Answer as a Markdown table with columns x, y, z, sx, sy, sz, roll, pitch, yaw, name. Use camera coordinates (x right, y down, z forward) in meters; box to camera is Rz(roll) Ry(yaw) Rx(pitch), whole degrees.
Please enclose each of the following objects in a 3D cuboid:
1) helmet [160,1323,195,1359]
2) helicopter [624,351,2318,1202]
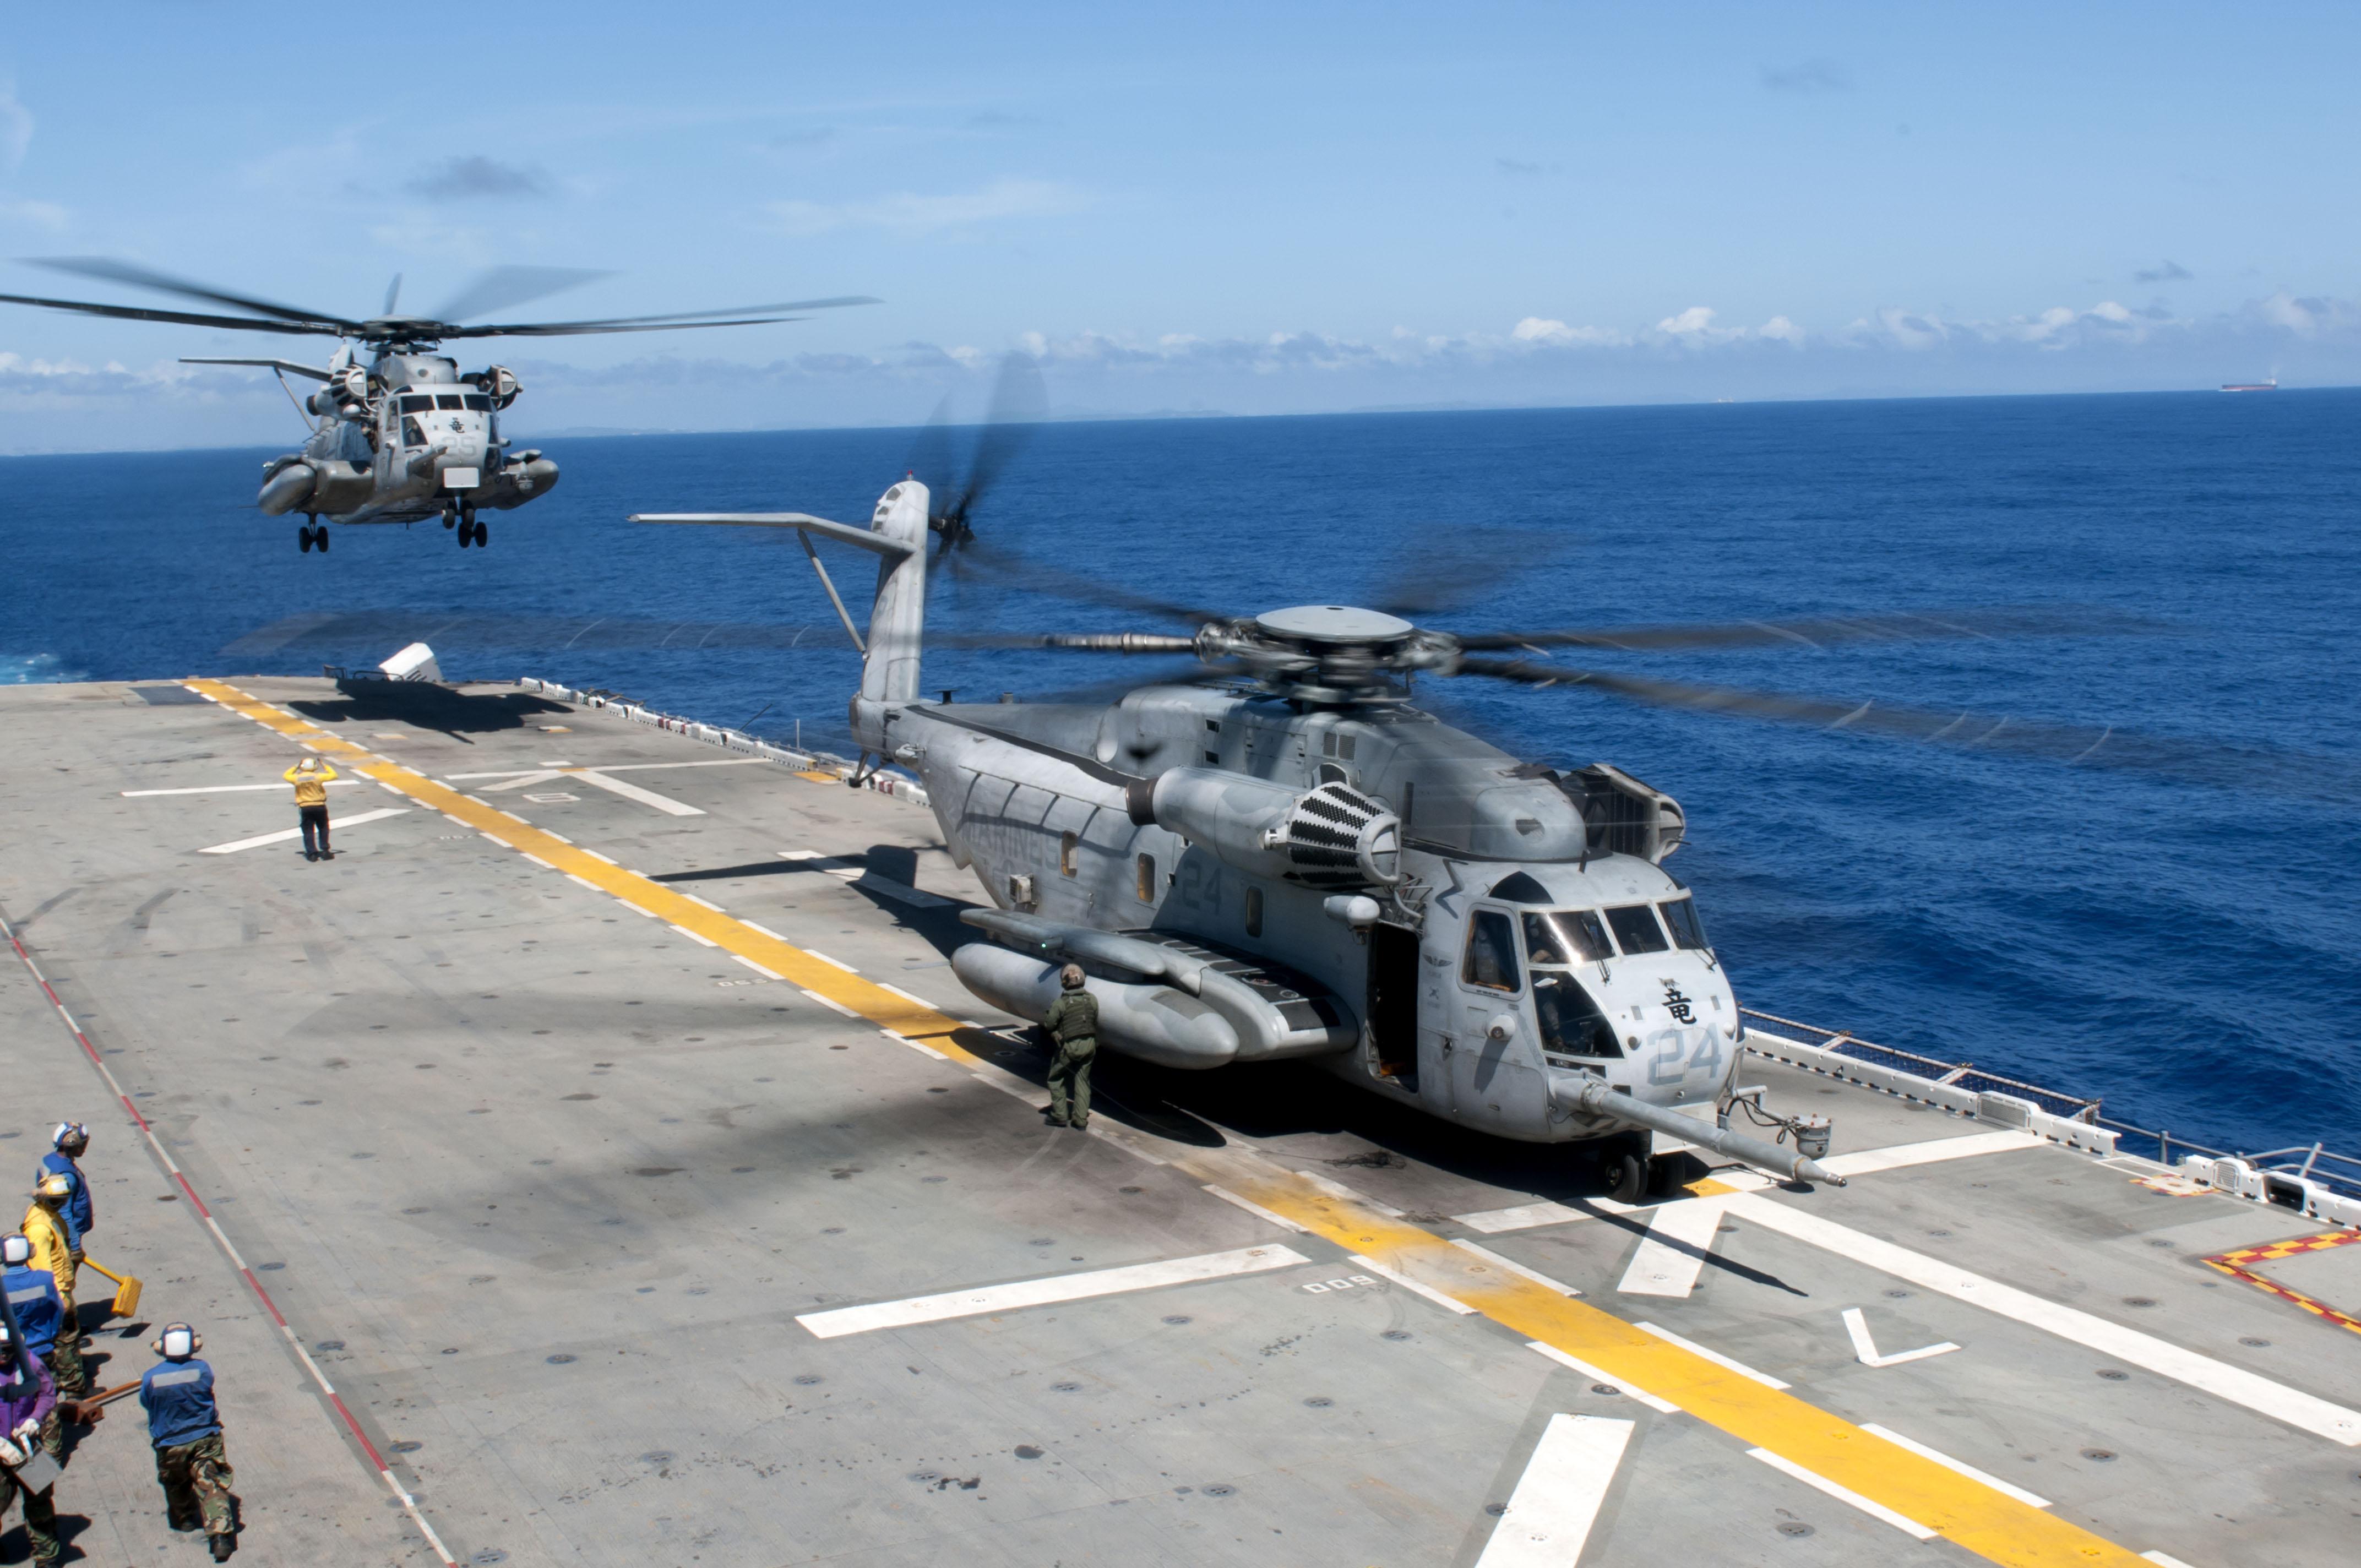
| x | y | z | sx | sy | sz | roll | pitch | yaw | name |
| --- | --- | --- | --- | --- | --- | --- | --- | --- | --- |
| -9.033 | 5.022 | 16.062 | 0.254 | 0.298 | 0.262 | -8 | 19 | -29 | helmet |
| 0.389 | 0.652 | 28.846 | 18.711 | 4.974 | 19.650 | -6 | 12 | -37 | helicopter |
